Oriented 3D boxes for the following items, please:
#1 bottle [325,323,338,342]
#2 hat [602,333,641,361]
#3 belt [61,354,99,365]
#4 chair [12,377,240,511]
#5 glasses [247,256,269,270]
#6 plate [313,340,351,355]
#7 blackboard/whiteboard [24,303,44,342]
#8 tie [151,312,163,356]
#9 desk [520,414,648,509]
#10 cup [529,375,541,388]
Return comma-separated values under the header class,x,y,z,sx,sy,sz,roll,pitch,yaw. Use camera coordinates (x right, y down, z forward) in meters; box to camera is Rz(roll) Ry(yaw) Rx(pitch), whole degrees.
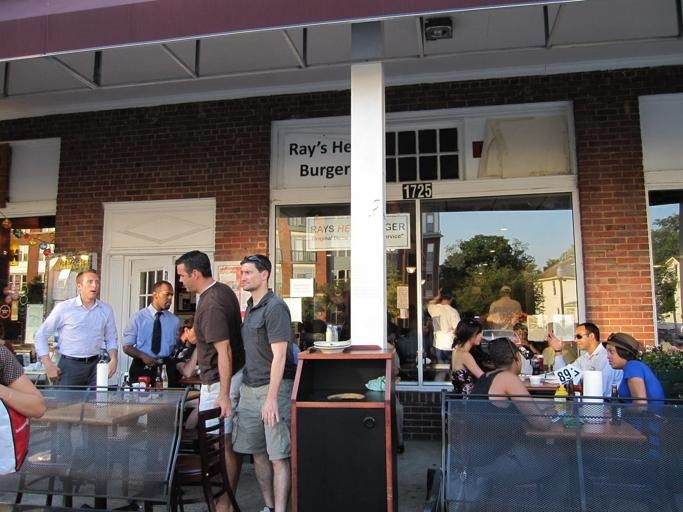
class,x,y,z,sx,sy,sz,roll,pitch,yaw
bottle,-0.088,0.742,5.649,0.109,0.144,0.295,-1,-7,3
hat,2.843,0.890,5.903,0.374,0.144,0.339,29,5,11
belt,-2.979,1.170,6.698,0.404,0.106,0.084,2,-8,-26
chair,-1.849,1.471,5.395,1.229,0.820,1.247,-1,-8,9
glasses,-0.794,0.043,5.508,0.136,0.067,0.170,10,15,-43
plate,-0.083,0.837,5.460,0.355,0.103,0.495,-1,-6,-1
blackboard/whiteboard,-5.100,1.118,9.804,0.356,0.660,0.055,-1,-4,7
tie,-2.363,0.990,7.532,0.120,0.551,0.067,3,-8,-26
desk,1.768,1.376,4.343,0.670,0.667,0.682,0,-6,8
cup,2.231,1.441,6.782,0.104,0.078,0.106,-1,-2,0
